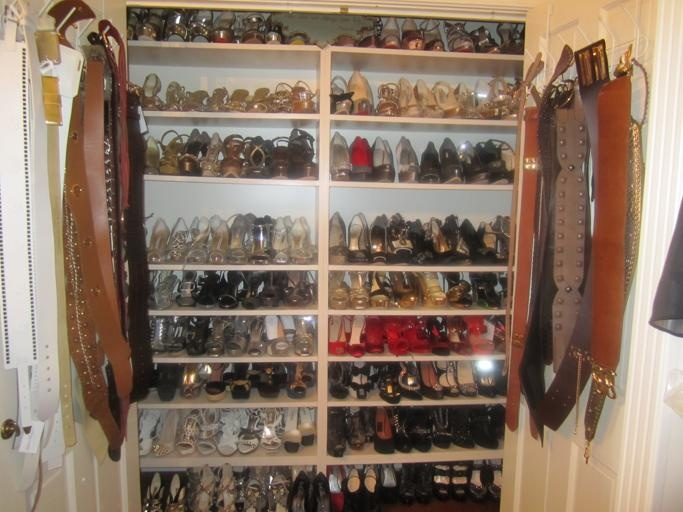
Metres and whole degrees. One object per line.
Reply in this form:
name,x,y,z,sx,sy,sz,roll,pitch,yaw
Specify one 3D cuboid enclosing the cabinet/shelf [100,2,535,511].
cabinet/shelf,-0.126,0.044,2.840,2.200,2.406,0.717,0,9,-2
